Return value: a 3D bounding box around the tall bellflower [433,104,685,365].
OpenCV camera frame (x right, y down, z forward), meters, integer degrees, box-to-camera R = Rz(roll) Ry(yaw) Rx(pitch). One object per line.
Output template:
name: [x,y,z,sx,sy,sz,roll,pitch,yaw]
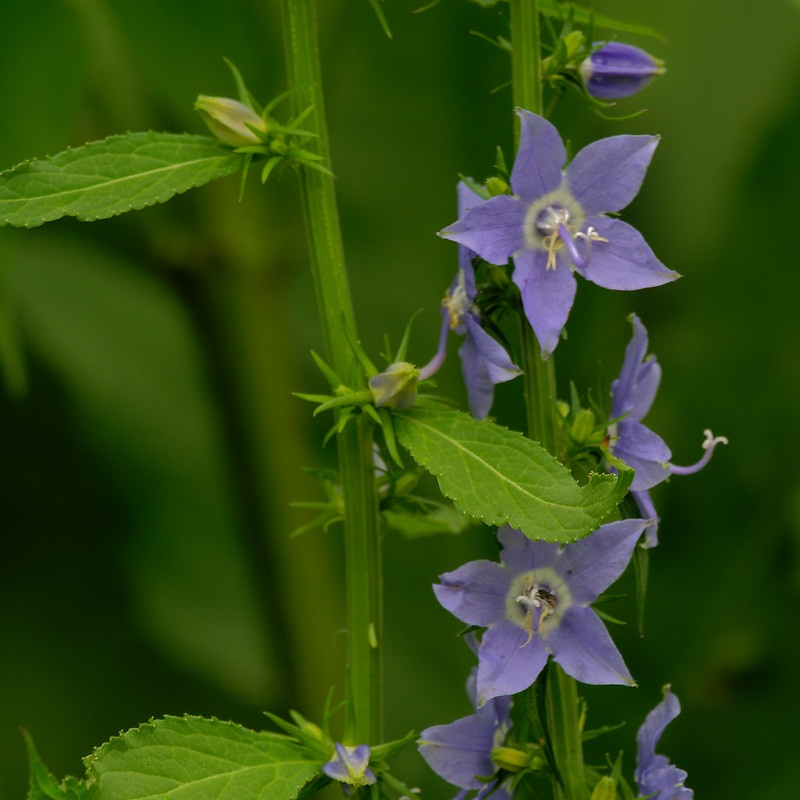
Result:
tall bellflower: [0.102,-0.114,0.703,0.156,0.148,0.064,-15,23,-17]
